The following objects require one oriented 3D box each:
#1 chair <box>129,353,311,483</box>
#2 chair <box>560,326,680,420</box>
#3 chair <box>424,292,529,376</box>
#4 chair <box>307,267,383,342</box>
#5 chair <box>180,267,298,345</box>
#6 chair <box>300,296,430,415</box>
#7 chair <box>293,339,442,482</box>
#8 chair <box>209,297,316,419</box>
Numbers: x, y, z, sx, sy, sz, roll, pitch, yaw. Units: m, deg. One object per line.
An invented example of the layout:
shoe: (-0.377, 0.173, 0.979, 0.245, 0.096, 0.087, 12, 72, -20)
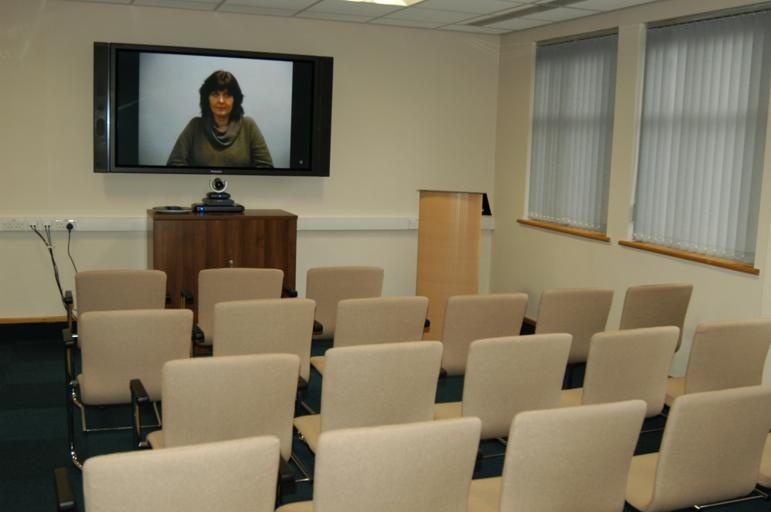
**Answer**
chair: (-0.975, 0.811, 3.811, 0.668, 0.923, 0.724, -2, 10, -24)
chair: (1.663, 0.758, 4.607, 0.608, 0.931, 0.722, -3, 11, -14)
chair: (0.731, 0.635, 5.384, 0.627, 0.962, 0.703, -1, 7, -15)
chair: (-0.467, 0.431, 6.058, 0.606, 0.876, 0.694, 0, 5, -11)
chair: (-1.374, 0.422, 5.621, 0.706, 0.984, 0.744, 1, 0, -17)
chair: (-0.117, 0.680, 4.767, 0.627, 0.906, 0.678, -2, 9, -20)
chair: (-0.206, 0.891, 4.133, 0.697, 1.015, 0.777, -2, 13, -17)
chair: (-0.892, 0.699, 4.557, 0.662, 0.926, 0.720, 0, 5, -14)
